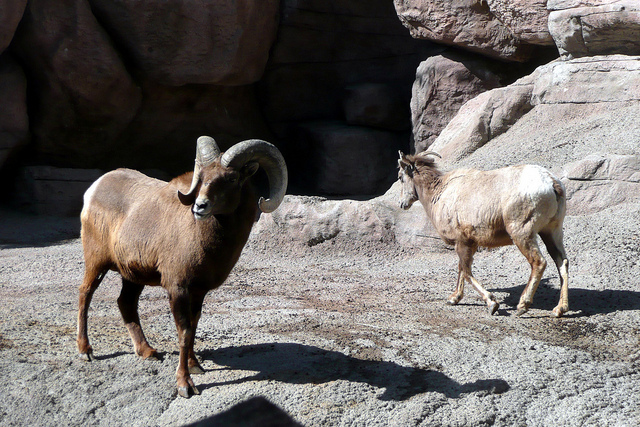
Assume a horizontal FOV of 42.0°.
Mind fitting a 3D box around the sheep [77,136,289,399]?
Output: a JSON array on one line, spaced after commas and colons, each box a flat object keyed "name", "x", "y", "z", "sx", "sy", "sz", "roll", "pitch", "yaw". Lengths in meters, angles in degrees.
[{"name": "sheep", "x": -2.316, "y": 0.691, "z": 13.069, "sx": 3.108, "sy": 3.710, "sz": 1.257, "roll": 6, "pitch": 17, "yaw": 9}]
